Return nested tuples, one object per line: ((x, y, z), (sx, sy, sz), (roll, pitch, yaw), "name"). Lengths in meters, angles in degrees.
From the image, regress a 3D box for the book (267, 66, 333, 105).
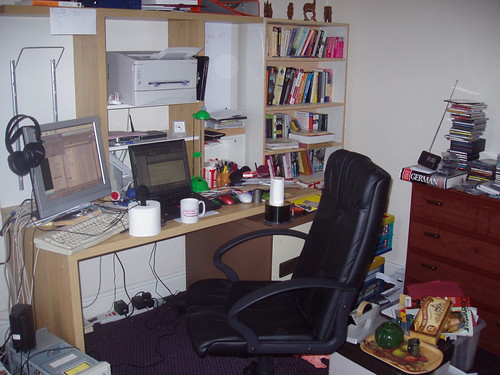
((0.419, -0.892, 3.663), (0.551, 0.379, 0.274), (-3, 20, -34), "book")

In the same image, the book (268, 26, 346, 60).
((0.483, -1.215, 3.457), (0.819, 0.235, 0.120), (-12, 21, -35), "book")

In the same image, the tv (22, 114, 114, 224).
((-1.048, -0.125, 2.412), (0.083, 0.566, 0.514), (13, 20, 32), "tv")

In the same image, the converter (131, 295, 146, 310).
((-0.847, 0.876, 3.158), (0.087, 0.086, 0.121), (-13, 20, -37), "converter")

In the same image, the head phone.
((-1.238, -0.232, 2.271), (0.186, 0.314, 0.261), (-8, 19, -26), "head phone")

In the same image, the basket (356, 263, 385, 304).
((0.953, 0.769, 3.540), (0.285, 0.388, 0.525), (7, -11, 10), "basket")

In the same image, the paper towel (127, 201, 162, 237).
((-0.600, 0.163, 2.397), (0.164, 0.202, 0.168), (14, 18, 33), "paper towel")

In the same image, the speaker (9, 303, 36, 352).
((-1.197, 0.769, 2.218), (0.118, 0.243, 0.137), (-4, 6, 2), "speaker")

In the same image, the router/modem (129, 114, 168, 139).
((-0.731, -0.427, 2.871), (0.272, 0.198, 0.185), (-10, 21, -44), "router/modem")

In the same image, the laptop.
((-0.508, -0.061, 2.694), (0.436, 0.353, 0.474), (-12, 26, -35), "laptop")

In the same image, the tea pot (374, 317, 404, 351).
((0.766, 0.799, 2.247), (0.185, 0.125, 0.147), (-6, 12, -19), "tea pot")

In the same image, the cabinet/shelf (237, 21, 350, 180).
((0.288, -0.841, 3.644), (0.974, 1.373, 0.375), (-12, 24, -40), "cabinet/shelf")

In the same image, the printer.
((-0.674, -0.778, 2.836), (0.582, 0.362, 0.565), (-9, 24, -32), "printer")

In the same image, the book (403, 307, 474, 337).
((1.265, 0.819, 2.498), (0.254, 0.064, 0.248), (9, 24, 28), "book")

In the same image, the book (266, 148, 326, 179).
((0.391, -0.232, 3.805), (0.553, 0.305, 0.271), (-7, 20, -34), "book")

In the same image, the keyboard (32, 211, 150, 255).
((-0.896, 0.264, 2.303), (0.515, 0.107, 0.270), (-14, 22, -40), "keyboard")
